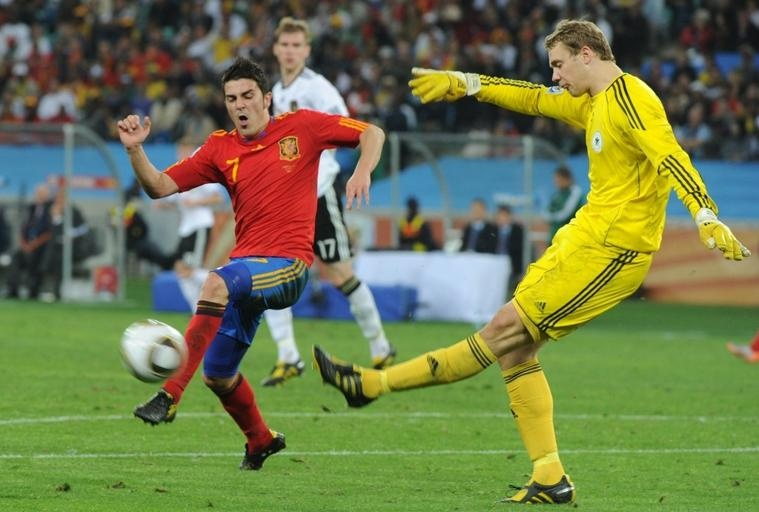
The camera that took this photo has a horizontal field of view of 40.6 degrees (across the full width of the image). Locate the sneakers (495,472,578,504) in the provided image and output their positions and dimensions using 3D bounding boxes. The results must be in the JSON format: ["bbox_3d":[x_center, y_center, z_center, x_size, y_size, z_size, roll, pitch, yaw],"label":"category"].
[{"bbox_3d":[1.100,1.596,7.088,0.536,0.210,0.196,0,-18,4],"label":"sneakers"}]

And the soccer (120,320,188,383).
[{"bbox_3d":[-1.641,0.665,7.168,0.395,0.467,0.451,4,3,-41],"label":"soccer"}]

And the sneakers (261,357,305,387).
[{"bbox_3d":[-0.939,1.142,10.187,0.512,0.214,0.163,-23,14,-28],"label":"sneakers"}]

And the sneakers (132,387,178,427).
[{"bbox_3d":[-1.527,1.019,7.024,0.219,0.205,0.400,18,3,18],"label":"sneakers"}]

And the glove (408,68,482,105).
[{"bbox_3d":[0.492,-1.250,7.614,0.415,0.278,0.169,-9,-21,7],"label":"glove"}]

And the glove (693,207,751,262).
[{"bbox_3d":[2.253,-0.096,6.729,0.275,0.382,0.133,-37,-25,-2],"label":"glove"}]
